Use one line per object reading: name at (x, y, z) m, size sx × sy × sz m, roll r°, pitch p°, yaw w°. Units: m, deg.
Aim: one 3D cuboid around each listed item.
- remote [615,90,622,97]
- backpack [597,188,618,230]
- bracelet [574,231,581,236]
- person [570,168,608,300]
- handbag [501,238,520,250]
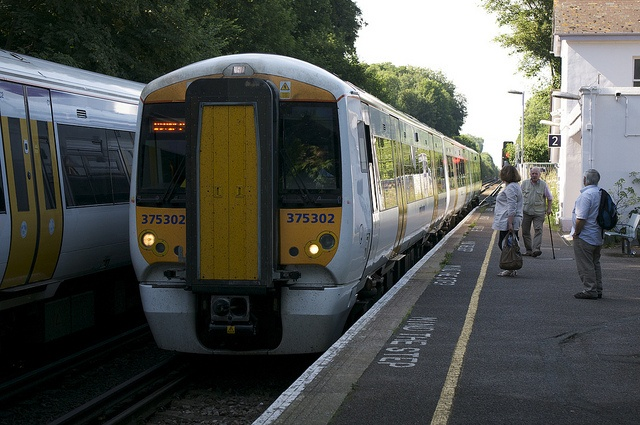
remote at (10.257, -4.033, 17.000) m, size 0.162 × 0.316 × 0.171 m, roll 2°, pitch 3°, yaw 12°
backpack at (5.242, -0.025, 9.047) m, size 0.315 × 0.773 × 0.376 m, roll 3°, pitch 5°, yaw 29°
bracelet at (4.697, 0.382, 9.024) m, size 0.073 × 0.055 × 0.105 m, roll 0°, pitch -7°, yaw 8°
person at (4.975, 0.424, 9.186) m, size 0.703 × 2.418 × 0.424 m, roll -3°, pitch 5°, yaw -34°
handbag at (4.219, 0.677, 10.984) m, size 0.413 × 0.408 × 0.234 m, roll -1°, pitch -4°, yaw 13°
